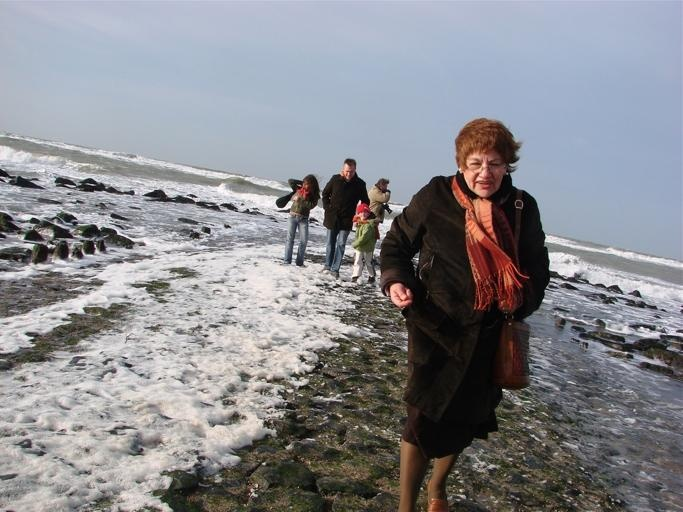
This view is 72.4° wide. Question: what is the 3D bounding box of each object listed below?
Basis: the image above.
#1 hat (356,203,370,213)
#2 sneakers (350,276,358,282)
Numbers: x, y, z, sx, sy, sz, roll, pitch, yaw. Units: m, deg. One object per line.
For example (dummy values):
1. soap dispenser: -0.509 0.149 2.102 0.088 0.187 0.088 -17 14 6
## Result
1. hat: 0.468 -1.076 10.673 0.232 0.246 0.385 9 10 -6
2. sneakers: 0.307 0.532 11.014 0.145 0.103 0.113 -3 6 -15
